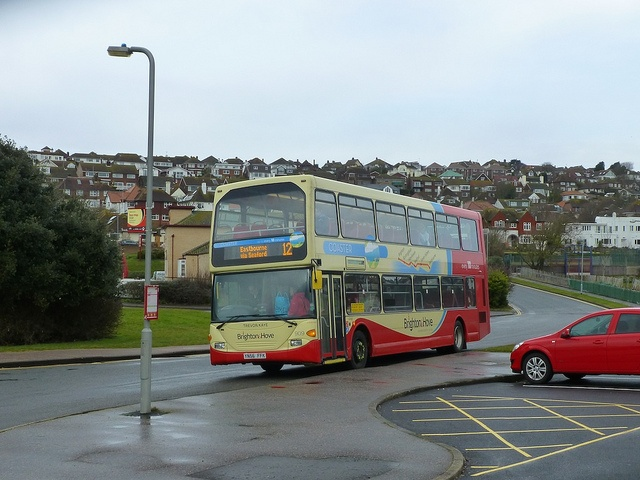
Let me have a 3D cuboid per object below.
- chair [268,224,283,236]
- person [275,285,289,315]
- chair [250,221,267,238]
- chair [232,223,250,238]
[{"bbox_3d":[-1.202,-0.252,20.349,0.334,0.375,0.331,1,6,7],"label":"chair"},{"bbox_3d":[-1.005,1.626,20.153,0.384,0.750,0.201,2,1,18],"label":"person"},{"bbox_3d":[-1.629,-0.275,20.622,0.454,0.546,0.402,0,-4,6],"label":"chair"},{"bbox_3d":[-2.167,-0.232,20.702,0.558,0.412,0.175,1,-2,29],"label":"chair"}]
